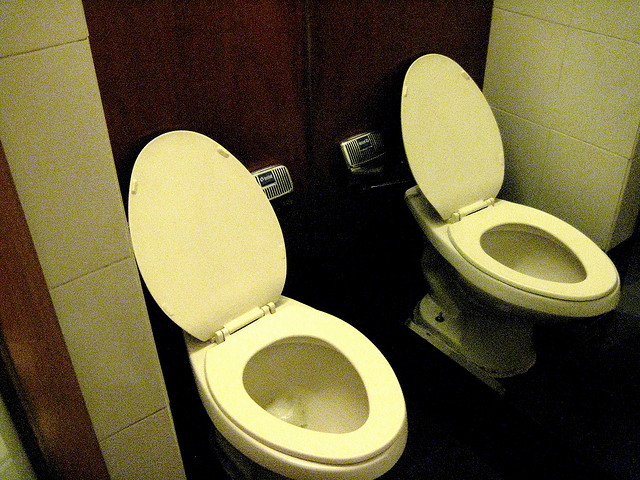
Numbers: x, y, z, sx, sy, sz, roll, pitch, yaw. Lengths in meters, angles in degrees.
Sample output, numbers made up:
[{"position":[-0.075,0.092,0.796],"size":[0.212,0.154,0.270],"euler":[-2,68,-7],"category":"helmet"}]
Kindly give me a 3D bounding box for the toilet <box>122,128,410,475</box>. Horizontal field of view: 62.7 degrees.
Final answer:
[{"position":[-0.132,0.206,1.315],"size":[0.439,0.671,0.805],"euler":[-30,51,-19],"category":"toilet"}]

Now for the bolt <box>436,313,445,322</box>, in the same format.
[{"position":[0.459,0.294,1.974],"size":[0.017,0.012,0.025],"euler":[-6,65,-4],"category":"bolt"}]

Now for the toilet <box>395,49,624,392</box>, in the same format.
[{"position":[0.612,-0.031,1.740],"size":[0.494,0.971,0.815],"euler":[-16,28,-28],"category":"toilet"}]
